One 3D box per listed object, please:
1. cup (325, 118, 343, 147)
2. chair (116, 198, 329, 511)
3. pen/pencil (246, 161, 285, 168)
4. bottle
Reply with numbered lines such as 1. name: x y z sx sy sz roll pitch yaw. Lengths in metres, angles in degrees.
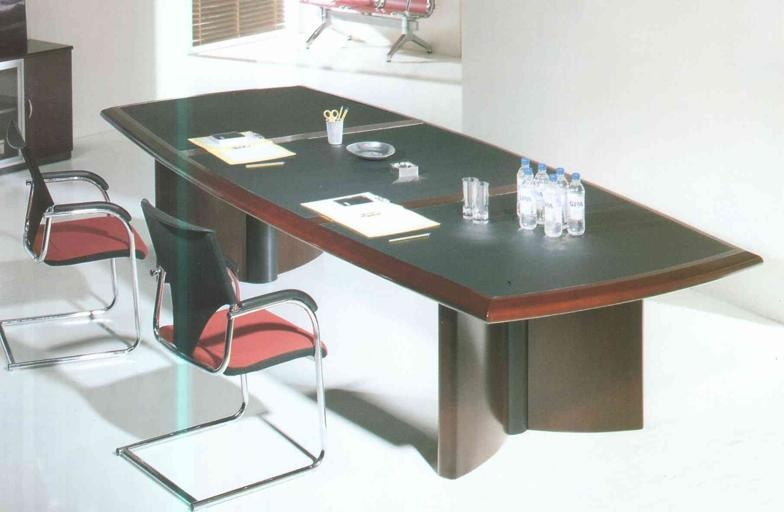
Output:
1. cup: -0.320 -0.694 4.058 0.127 0.186 0.132 1 18 0
2. chair: -0.844 0.525 3.539 1.065 1.486 0.919 -13 27 -35
3. pen/pencil: -0.675 -0.483 3.802 0.199 0.020 0.022 -6 8 -20
4. bottle: 0.712 -0.256 3.193 0.323 0.234 0.323 1 27 0
